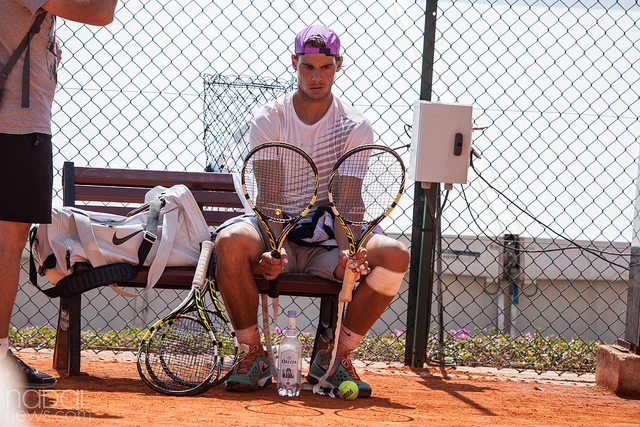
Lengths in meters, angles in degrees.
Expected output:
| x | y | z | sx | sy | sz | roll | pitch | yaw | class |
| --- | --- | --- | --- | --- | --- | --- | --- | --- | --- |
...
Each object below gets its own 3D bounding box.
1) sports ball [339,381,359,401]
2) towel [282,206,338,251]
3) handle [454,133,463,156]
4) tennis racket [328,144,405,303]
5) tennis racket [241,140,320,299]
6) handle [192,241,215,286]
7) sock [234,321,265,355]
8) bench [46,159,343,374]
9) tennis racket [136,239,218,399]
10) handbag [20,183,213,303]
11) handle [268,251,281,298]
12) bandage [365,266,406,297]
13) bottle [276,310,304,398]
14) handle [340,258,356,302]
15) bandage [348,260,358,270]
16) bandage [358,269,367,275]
| x | y | z | sx | sy | sz | roll | pitch | yaw | class |
| --- | --- | --- | --- | --- | --- | --- | --- | --- | --- |
| 0.139 | 0.886 | 3.735 | 0.091 | 0.094 | 0.090 | -7 | -16 | -2 | sports ball |
| -0.029 | 0.090 | 3.962 | 0.208 | 0.125 | 0.277 | 1 | -7 | 0 | towel |
| 0.793 | -0.398 | 4.279 | 0.049 | 0.115 | 0.026 | 2 | 0 | 0 | handle |
| 0.225 | 0.037 | 3.911 | 0.334 | 0.856 | 0.354 | 1 | -1 | 1 | tennis racket |
| -0.214 | 0.106 | 3.678 | 0.403 | 1.070 | 0.079 | 4 | -32 | -3 | tennis racket |
| -0.577 | 0.241 | 3.776 | 0.087 | 0.235 | 0.069 | -8 | -34 | 36 | handle |
| -0.378 | 0.611 | 3.883 | 0.109 | 0.110 | 0.164 | -29 | -2 | 15 | sock |
| -0.827 | 0.375 | 4.158 | 1.775 | 1.251 | 0.724 | 0 | 5 | 15 | bench |
| -0.677 | 0.507 | 3.902 | 0.391 | 1.011 | 0.103 | 13 | -44 | -5 | tennis racket |
| -1.081 | 0.137 | 4.067 | 1.000 | 0.512 | 0.746 | -5 | 8 | -32 | handbag |
| -0.233 | 0.314 | 3.826 | 0.057 | 0.256 | 0.171 | 3 | 4 | -3 | handle |
| 0.320 | 0.346 | 3.796 | 0.150 | 0.121 | 0.160 | 26 | -4 | 11 | bandage |
| -0.150 | 0.699 | 3.803 | 0.128 | 0.425 | 0.246 | 3 | 4 | -3 | bottle |
| 0.152 | 0.336 | 3.763 | 0.061 | 0.217 | 0.131 | 5 | 4 | 27 | handle |
| 0.166 | 0.257 | 3.726 | 0.045 | 0.033 | 0.018 | -41 | 10 | -2 | bandage |
| 0.218 | 0.297 | 3.766 | 0.033 | 0.025 | 0.009 | -27 | -3 | -2 | bandage |
